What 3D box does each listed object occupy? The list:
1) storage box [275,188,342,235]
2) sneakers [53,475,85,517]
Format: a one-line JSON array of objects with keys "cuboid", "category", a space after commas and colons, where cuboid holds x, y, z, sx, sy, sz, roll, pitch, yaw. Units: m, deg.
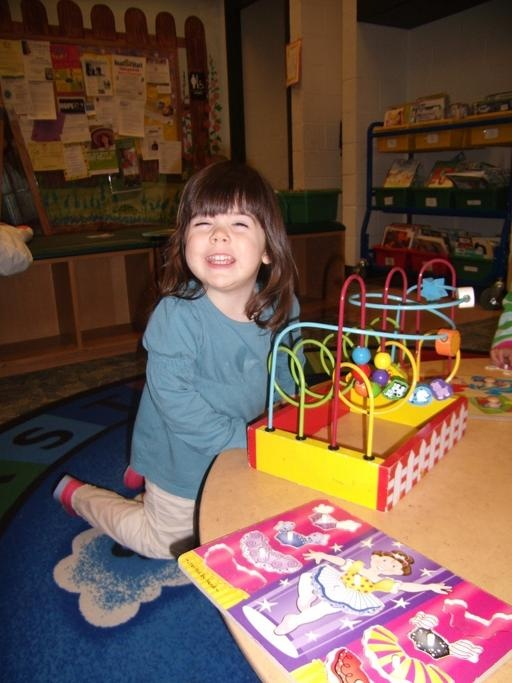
[{"cuboid": [0.355, -0.865, 3.242, 0.331, 0.235, 0.388, 9, 18, 43], "category": "storage box"}, {"cuboid": [-0.470, 0.387, 1.244, 0.111, 0.062, 0.041, 33, 8, 37], "category": "sneakers"}]
